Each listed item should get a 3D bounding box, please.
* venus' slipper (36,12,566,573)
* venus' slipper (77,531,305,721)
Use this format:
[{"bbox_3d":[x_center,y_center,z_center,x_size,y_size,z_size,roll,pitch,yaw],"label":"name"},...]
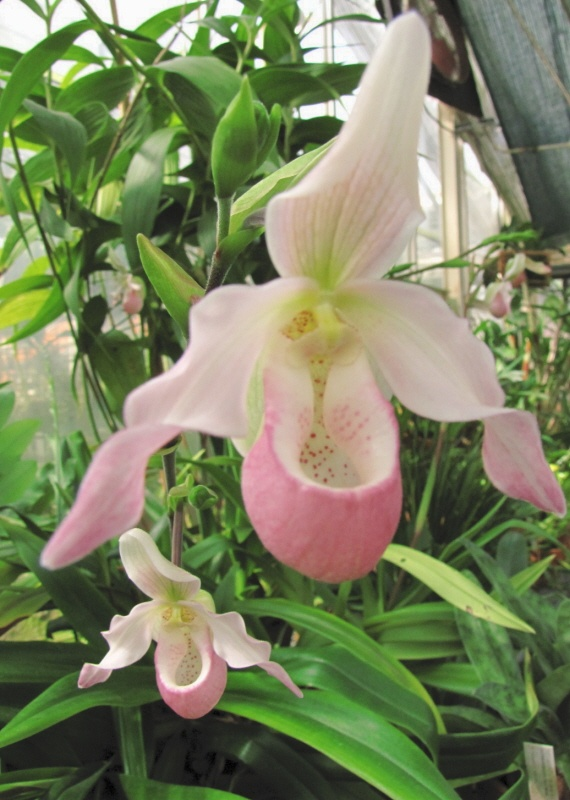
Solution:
[{"bbox_3d":[0.033,-0.079,0.761,0.424,0.520,0.192,-14,11,-12],"label":"venus' slipper"},{"bbox_3d":[-0.149,0.322,1.044,0.333,0.283,0.136,-7,-2,9],"label":"venus' slipper"}]
